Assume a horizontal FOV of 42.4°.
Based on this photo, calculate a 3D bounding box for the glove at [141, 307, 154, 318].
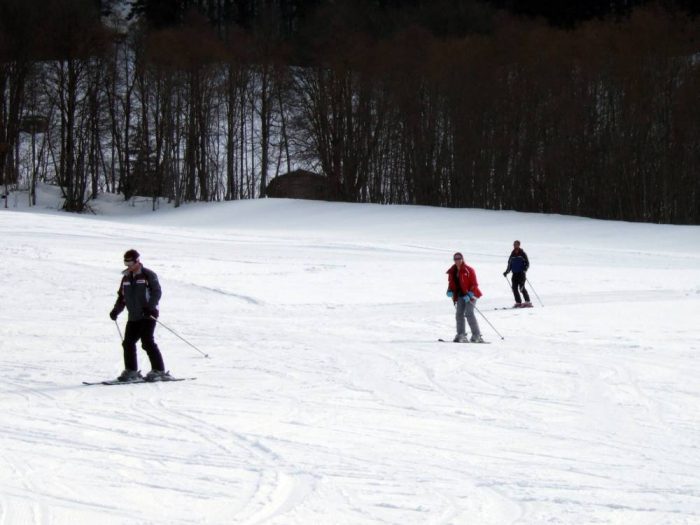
[{"bbox_3d":[-3.691,0.919,16.531,0.209,0.179,0.074,-1,10,-14],"label":"glove"}]

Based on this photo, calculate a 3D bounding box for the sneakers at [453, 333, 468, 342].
[{"bbox_3d":[2.508,1.721,20.480,0.293,0.156,0.150,7,-1,-3],"label":"sneakers"}]

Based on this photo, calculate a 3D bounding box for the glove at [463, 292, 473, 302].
[{"bbox_3d":[2.683,0.788,20.349,0.061,0.197,0.179,5,2,-31],"label":"glove"}]

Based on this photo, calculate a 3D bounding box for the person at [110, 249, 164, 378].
[{"bbox_3d":[-3.907,0.976,16.578,0.959,2.392,1.045,-2,10,-16],"label":"person"}]

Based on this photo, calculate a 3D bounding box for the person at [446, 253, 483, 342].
[{"bbox_3d":[2.655,0.790,20.813,0.859,2.116,1.575,3,10,8],"label":"person"}]
